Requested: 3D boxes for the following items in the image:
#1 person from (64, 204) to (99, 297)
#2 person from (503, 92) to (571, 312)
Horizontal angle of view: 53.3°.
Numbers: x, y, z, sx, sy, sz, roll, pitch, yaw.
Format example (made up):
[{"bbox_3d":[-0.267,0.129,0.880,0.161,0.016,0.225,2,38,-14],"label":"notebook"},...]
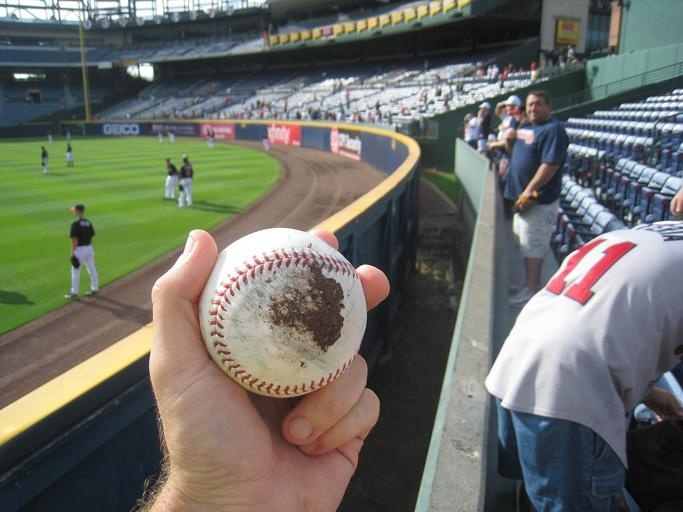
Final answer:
[{"bbox_3d":[-3.823,-0.087,9.971,0.362,1.371,0.398,12,16,37],"label":"person"},{"bbox_3d":[2.191,-0.797,7.819,0.798,2.784,0.707,1,2,45],"label":"person"}]
